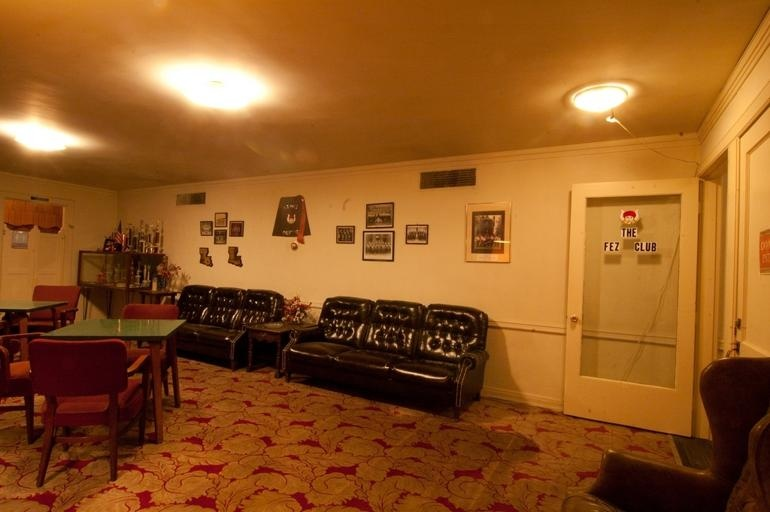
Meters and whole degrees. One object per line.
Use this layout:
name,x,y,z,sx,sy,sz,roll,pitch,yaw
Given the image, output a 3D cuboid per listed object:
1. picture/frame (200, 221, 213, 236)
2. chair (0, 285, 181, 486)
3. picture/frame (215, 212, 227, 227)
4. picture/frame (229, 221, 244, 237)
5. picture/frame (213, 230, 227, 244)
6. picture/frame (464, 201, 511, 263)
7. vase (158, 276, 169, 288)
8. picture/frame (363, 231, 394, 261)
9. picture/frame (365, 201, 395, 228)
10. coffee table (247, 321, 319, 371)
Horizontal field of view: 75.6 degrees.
picture/frame,-3.255,-0.502,9.011,0.280,0.256,0.029,0,3,35
chair,-2.788,1.347,5.055,1.069,1.386,1.167,0,11,-5
picture/frame,-2.932,-0.644,8.858,0.250,0.243,0.017,7,9,31
picture/frame,-2.612,-0.467,8.693,0.295,0.268,0.020,1,-1,19
picture/frame,-2.951,-0.334,8.852,0.249,0.240,0.025,5,9,26
picture/frame,1.410,-0.324,6.733,0.882,1.104,0.083,0,-3,23
vase,-4.148,0.484,9.218,0.112,0.200,0.205,-6,-4,19
picture/frame,-0.092,-0.147,7.420,0.474,0.379,0.039,1,-4,27
picture/frame,-0.071,-0.620,7.429,0.421,0.337,0.033,0,-4,26
coffee table,-1.531,1.161,7.457,0.765,0.691,0.982,1,0,29
